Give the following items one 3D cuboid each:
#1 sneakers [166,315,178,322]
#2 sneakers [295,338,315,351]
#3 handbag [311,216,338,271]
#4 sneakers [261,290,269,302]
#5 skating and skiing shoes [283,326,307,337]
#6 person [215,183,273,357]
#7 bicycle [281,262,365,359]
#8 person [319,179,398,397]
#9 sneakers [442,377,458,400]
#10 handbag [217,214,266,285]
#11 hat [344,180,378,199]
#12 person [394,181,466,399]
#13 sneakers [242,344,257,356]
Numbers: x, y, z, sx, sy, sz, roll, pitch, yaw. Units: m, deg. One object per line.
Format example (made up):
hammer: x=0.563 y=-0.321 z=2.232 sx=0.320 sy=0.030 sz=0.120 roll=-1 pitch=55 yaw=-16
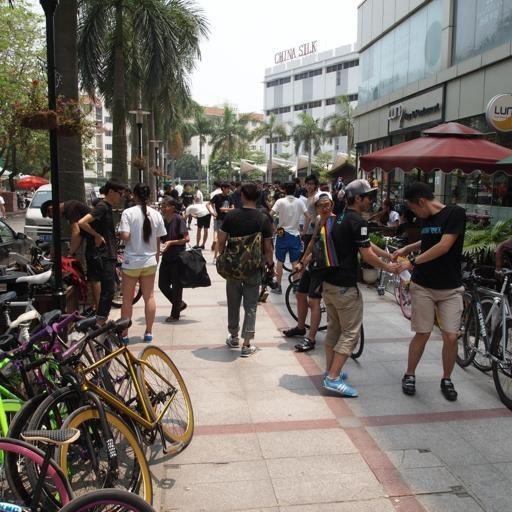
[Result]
sneakers: x=-1.267 y=0.956 z=7.112 sx=0.158 sy=0.064 sz=0.083 roll=3 pitch=2 yaw=4
sneakers: x=0.616 y=1.117 z=5.865 sx=0.283 sy=0.145 sz=0.135 roll=-3 pitch=7 yaw=-32
handbag: x=0.687 y=-0.186 z=4.679 sx=0.250 sy=0.589 sz=0.440 roll=-2 pitch=6 yaw=-11
sneakers: x=0.119 y=0.685 z=7.586 sx=0.086 sy=0.259 sz=0.109 roll=-18 pitch=55 yaw=-37
skating and skiing shoes: x=0.536 y=1.035 z=6.423 sx=0.334 sy=0.146 sz=0.123 roll=0 pitch=4 yaw=6
person: x=-0.159 y=0.130 z=5.736 sx=0.699 sy=2.071 sz=0.633 roll=4 pitch=9 yaw=2
bicycle: x=1.022 y=0.769 z=6.538 sx=0.733 sy=0.953 sz=1.556 roll=2 pitch=11 yaw=-37
person: x=0.929 y=0.309 z=4.513 sx=0.565 sy=2.099 sz=0.507 roll=2 pitch=6 yaw=7
sneakers: x=1.840 y=1.287 z=4.457 sx=0.086 sy=0.102 sz=0.241 roll=-2 pitch=3 yaw=0
handbag: x=-0.151 y=-0.069 z=5.732 sx=0.565 sy=0.971 sz=0.665 roll=-3 pitch=-14 yaw=1
hat: x=0.984 y=-0.662 z=4.488 sx=0.247 sy=0.196 sz=0.390 roll=4 pitch=7 yaw=25
person: x=1.708 y=0.307 z=4.642 sx=0.661 sy=2.086 sz=0.683 roll=3 pitch=7 yaw=23
sneakers: x=-0.076 y=1.136 z=5.610 sx=0.086 sy=0.088 sz=0.207 roll=4 pitch=10 yaw=28
